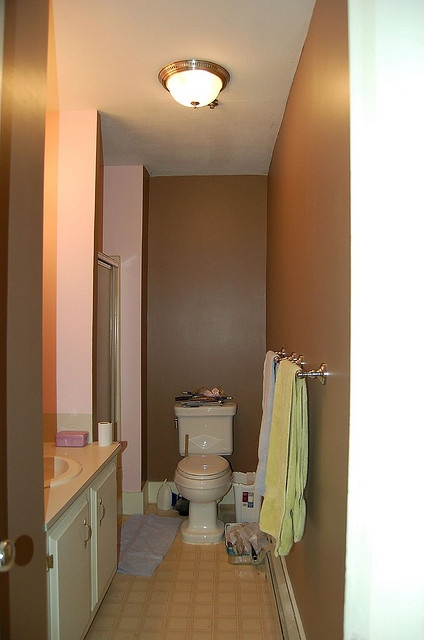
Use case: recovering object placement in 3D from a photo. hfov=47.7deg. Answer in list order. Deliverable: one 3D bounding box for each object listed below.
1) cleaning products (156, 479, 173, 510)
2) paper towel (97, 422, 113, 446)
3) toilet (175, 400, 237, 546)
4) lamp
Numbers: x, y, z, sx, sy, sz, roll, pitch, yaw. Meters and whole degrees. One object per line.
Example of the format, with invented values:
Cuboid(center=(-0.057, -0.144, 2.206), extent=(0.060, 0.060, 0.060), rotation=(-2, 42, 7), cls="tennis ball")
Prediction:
Cuboid(center=(-0.331, 1.254, 3.416), extent=(0.108, 0.176, 0.118), rotation=(1, -1, -16), cls="cleaning products")
Cuboid(center=(-0.510, 0.547, 2.290), extent=(0.059, 0.103, 0.054), rotation=(1, -1, -23), cls="paper towel")
Cuboid(center=(-0.043, 0.940, 3.187), extent=(0.342, 0.822, 0.733), rotation=(-1, -15, 3), cls="toilet")
Cuboid(center=(-0.074, -1.000, 2.031), extent=(0.300, 0.134, 0.183), rotation=(1, -1, -8), cls="lamp")
